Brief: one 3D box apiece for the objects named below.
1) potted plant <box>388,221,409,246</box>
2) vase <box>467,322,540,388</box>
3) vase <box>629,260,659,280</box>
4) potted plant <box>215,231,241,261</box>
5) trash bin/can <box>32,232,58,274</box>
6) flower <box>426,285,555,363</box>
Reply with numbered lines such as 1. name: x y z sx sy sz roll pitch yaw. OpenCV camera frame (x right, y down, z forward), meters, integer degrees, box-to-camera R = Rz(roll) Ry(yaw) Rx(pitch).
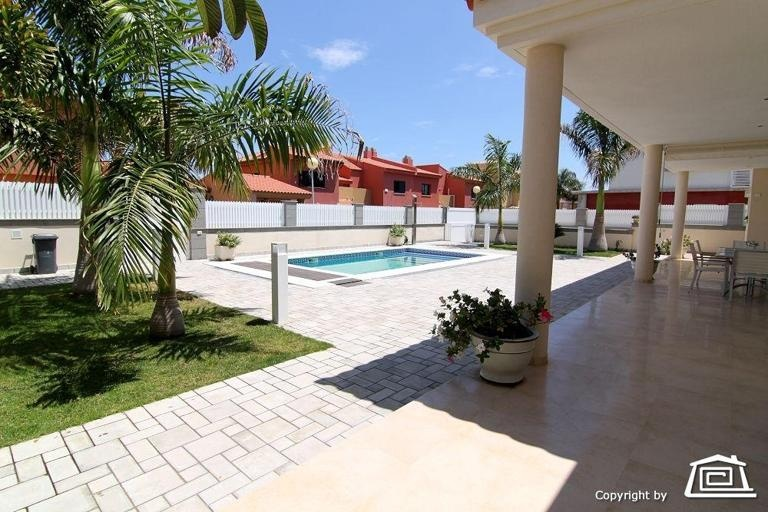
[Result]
1. potted plant: 0.656 -1.125 21.730 0.895 1.181 1.095 4 11 29
2. vase: 1.535 1.324 5.921 0.798 0.617 0.836 4 4 30
3. vase: 7.288 0.392 12.510 0.507 0.425 0.536 -5 5 -39
4. potted plant: -5.311 -0.431 15.104 0.961 1.051 0.795 -7 13 -44
5. trash bin/can: -8.785 -0.074 11.585 0.507 1.009 0.375 -6 10 -40
6. flower: 1.204 0.792 5.840 1.262 0.797 1.094 -9 14 -41
